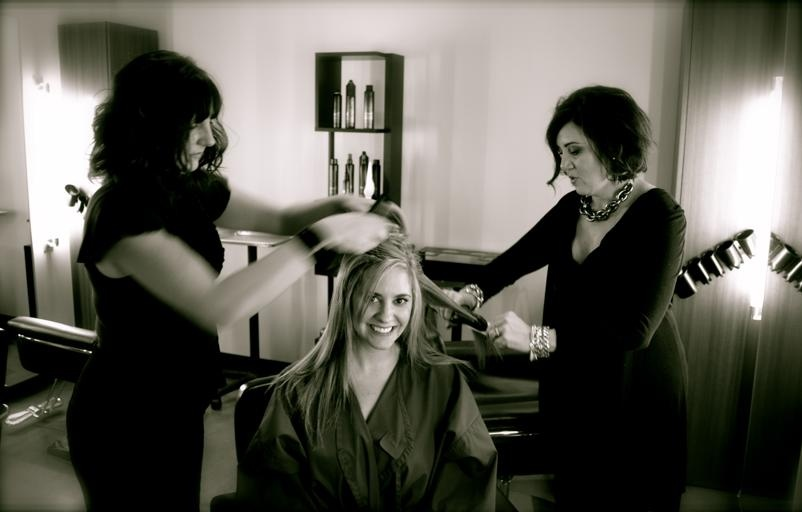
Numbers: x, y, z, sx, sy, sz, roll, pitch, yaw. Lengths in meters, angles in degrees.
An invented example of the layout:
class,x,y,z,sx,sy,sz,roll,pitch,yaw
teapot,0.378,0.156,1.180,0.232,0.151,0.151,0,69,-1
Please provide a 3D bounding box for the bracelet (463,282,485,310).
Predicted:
class,x,y,z,sx,sy,sz,roll,pitch,yaw
bracelet,0.296,0.160,2.852,0.037,0.087,0.101,-29,47,-11

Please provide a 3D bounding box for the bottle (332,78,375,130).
class,x,y,z,sx,sy,sz,roll,pitch,yaw
bottle,-0.226,-0.712,3.320,0.224,0.242,0.074,-2,6,-24

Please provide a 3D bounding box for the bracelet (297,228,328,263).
class,x,y,z,sx,sy,sz,roll,pitch,yaw
bracelet,-0.295,-0.038,2.434,0.029,0.107,0.118,-38,3,-4

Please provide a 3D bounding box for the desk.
class,x,y,z,sx,sy,sz,roll,pitch,yaw
desk,-0.513,0.191,2.886,0.623,0.561,0.197,1,1,14

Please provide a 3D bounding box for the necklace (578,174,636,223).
class,x,y,z,sx,sy,sz,roll,pitch,yaw
necklace,0.769,-0.211,2.619,0.142,0.164,0.038,43,41,11

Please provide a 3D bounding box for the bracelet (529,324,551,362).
class,x,y,z,sx,sy,sz,roll,pitch,yaw
bracelet,0.517,0.325,2.699,0.112,0.148,0.119,1,7,7
